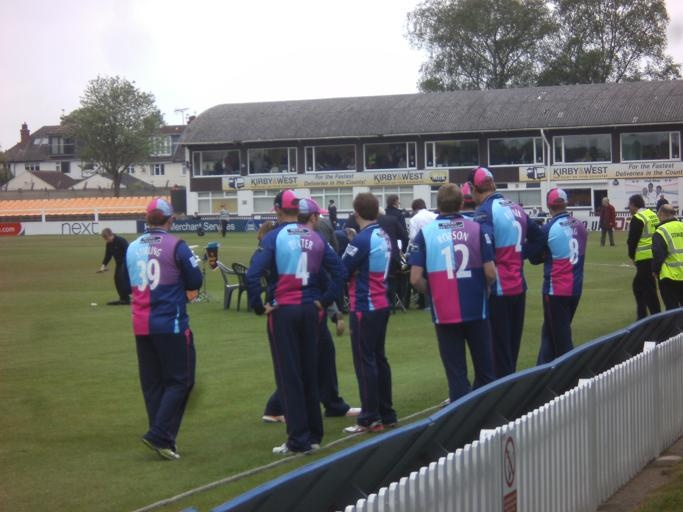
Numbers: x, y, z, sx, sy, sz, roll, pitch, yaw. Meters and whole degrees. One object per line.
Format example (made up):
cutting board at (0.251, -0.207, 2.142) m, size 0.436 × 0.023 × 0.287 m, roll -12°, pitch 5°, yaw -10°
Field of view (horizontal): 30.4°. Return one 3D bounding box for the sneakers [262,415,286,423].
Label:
sneakers at (-1.036, 2.554, 19.547) m, size 0.337 × 0.172 × 0.132 m, roll -2°, pitch 2°, yaw -8°

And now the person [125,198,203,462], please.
person at (-2.612, 1.083, 18.583) m, size 0.996 × 3.787 × 1.064 m, roll -3°, pitch 11°, yaw -11°

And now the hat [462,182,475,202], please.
hat at (2.095, -1.086, 20.734) m, size 0.286 × 0.280 × 0.425 m, roll 2°, pitch 1°, yaw 5°

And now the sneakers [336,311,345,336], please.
sneakers at (-0.011, 1.052, 19.053) m, size 0.209 × 0.311 × 0.088 m, roll 7°, pitch -5°, yaw -24°

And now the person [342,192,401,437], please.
person at (0.423, 0.872, 19.051) m, size 0.748 × 3.597 × 0.835 m, roll -1°, pitch 11°, yaw 2°

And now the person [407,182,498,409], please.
person at (1.673, 0.567, 18.664) m, size 1.187 × 3.232 × 0.687 m, roll 0°, pitch 11°, yaw 6°
